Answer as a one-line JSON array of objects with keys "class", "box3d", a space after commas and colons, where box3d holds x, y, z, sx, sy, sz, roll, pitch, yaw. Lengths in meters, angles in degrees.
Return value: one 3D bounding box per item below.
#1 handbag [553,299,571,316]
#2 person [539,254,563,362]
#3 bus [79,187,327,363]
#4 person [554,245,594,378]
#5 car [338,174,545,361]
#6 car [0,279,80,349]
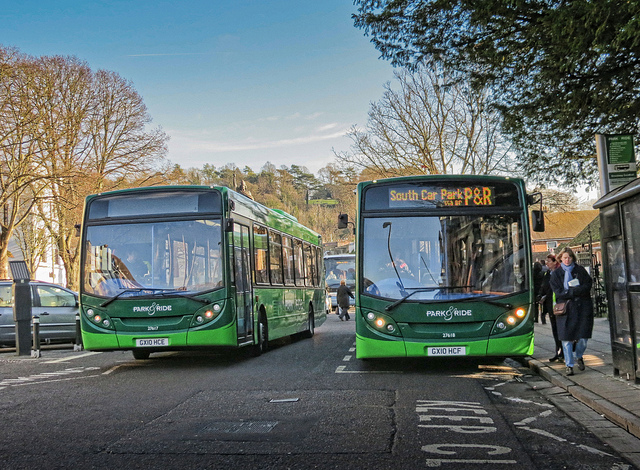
[{"class": "handbag", "box3d": [4.476, 1.353, 9.169, 0.337, 0.185, 0.210, 18, -28, -40]}, {"class": "person", "box3d": [4.894, 1.397, 10.551, 0.595, 1.943, 0.611, -2, 7, 30]}, {"class": "bus", "box3d": [-2.654, 1.550, 16.778, 3.688, 4.165, 12.490, -2, -6, 8]}, {"class": "person", "box3d": [4.642, 1.373, 9.084, 0.648, 2.305, 0.540, -3, -6, 23]}, {"class": "car", "box3d": [2.458, 0.534, 9.830, 2.820, 2.354, 4.433, -1, -3, 5]}, {"class": "car", "box3d": [-9.199, 2.629, 16.580, 2.560, 2.205, 2.492, -5, -8, 33]}]
